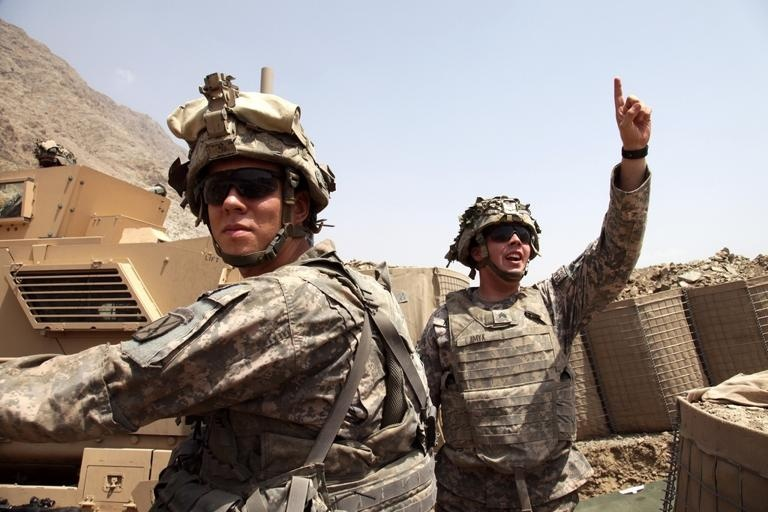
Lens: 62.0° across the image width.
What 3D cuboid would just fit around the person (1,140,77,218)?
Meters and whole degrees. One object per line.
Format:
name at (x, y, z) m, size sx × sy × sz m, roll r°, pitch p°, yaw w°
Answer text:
person at (-4.784, -1.084, 9.115) m, size 0.784 × 0.676 × 1.451 m, roll -2°, pitch -2°, yaw 4°

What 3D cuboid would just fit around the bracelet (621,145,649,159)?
bracelet at (2.009, -0.832, 5.145) m, size 0.186 × 0.121 × 0.179 m, roll 3°, pitch 4°, yaw 16°
